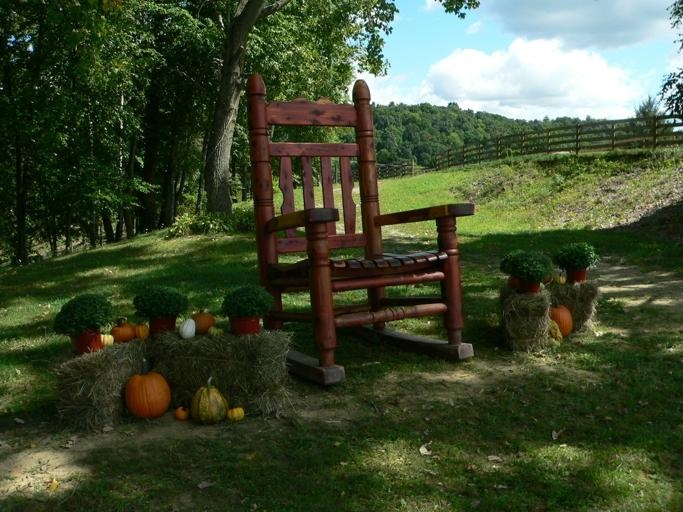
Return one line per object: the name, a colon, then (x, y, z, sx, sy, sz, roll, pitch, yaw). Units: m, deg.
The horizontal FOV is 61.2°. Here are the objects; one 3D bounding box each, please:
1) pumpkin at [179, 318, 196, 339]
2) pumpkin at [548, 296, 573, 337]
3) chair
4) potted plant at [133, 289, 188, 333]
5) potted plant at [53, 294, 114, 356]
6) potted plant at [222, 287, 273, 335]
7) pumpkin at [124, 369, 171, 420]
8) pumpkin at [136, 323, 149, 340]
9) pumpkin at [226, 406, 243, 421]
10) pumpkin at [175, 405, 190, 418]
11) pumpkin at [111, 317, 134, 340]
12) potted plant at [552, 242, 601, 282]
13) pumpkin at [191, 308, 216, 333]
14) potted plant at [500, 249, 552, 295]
pumpkin: (-1.291, 0.615, 4.965, 0.158, 0.187, 0.149, 5, -4, -6)
pumpkin: (2.344, 0.661, 6.136, 0.340, 0.369, 0.327, -4, 0, 9)
chair: (-0.008, -0.408, 5.926, 1.645, 2.969, 1.870, -6, 6, -27)
potted plant: (-1.585, 0.466, 5.203, 0.450, 0.408, 0.423, 1, 1, -6)
potted plant: (-2.133, 0.565, 4.855, 0.406, 0.481, 0.315, -1, 6, 16)
potted plant: (-0.787, 0.480, 5.071, 0.456, 0.416, 0.427, 1, -7, -7)
pumpkin: (-1.539, 1.106, 4.701, 0.378, 0.340, 0.339, -2, 1, 0)
pumpkin: (-1.725, 0.661, 5.085, 0.118, 0.139, 0.129, -7, -5, 38)
pumpkin: (-0.858, 1.287, 4.710, 0.142, 0.092, 0.096, -4, 6, -10)
pumpkin: (-1.301, 1.281, 4.710, 0.117, 0.096, 0.094, -5, 6, -25)
pumpkin: (-1.919, 0.628, 5.090, 0.213, 0.240, 0.196, -1, -3, -33)
potted plant: (2.676, 0.065, 6.520, 0.481, 0.443, 0.446, -1, -3, -4)
pumpkin: (-1.212, 0.576, 5.154, 0.204, 0.185, 0.197, -23, 13, -26)
potted plant: (1.934, 0.169, 6.056, 0.504, 0.420, 0.478, 1, -4, -3)
